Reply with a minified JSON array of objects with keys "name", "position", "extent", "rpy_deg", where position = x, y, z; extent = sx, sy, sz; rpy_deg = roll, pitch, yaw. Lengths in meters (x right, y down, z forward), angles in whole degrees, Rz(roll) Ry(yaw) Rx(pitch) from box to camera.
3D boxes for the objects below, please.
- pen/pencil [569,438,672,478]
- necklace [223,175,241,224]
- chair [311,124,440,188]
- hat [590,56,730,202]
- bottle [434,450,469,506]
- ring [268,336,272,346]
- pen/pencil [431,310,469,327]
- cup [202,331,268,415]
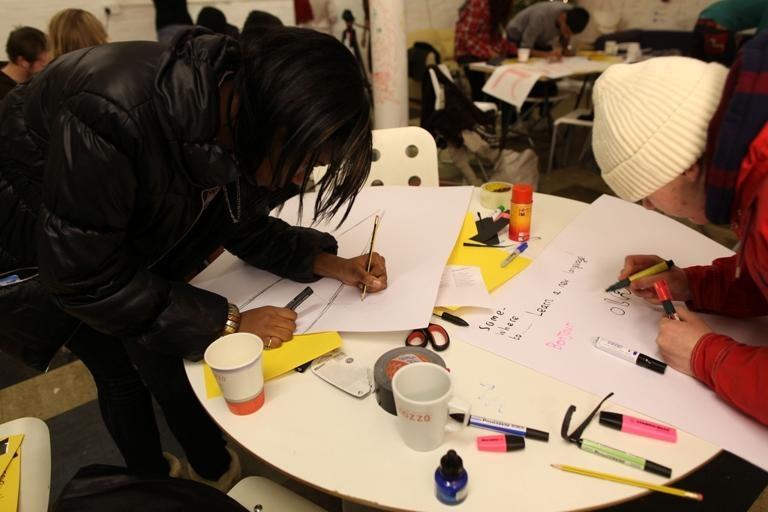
[{"name":"pen/pencil","position":[0.521,0.451,1.230],"extent":[0.150,0.030,0.026],"rpy_deg":[16,-16,17]},{"name":"necklace","position":[-0.449,-0.166,1.633],"extent":[0.029,0.119,0.077],"rpy_deg":[26,29,32]},{"name":"chair","position":[-0.038,-0.434,2.493],"extent":[0.508,0.326,0.430],"rpy_deg":[-1,32,-9]},{"name":"hat","position":[0.646,-0.347,1.392],"extent":[0.246,0.350,0.346],"rpy_deg":[12,26,-6]},{"name":"bottle","position":[0.140,0.472,1.223],"extent":[0.080,0.109,0.102],"rpy_deg":[7,14,3]},{"name":"ring","position":[-0.307,0.228,1.464],"extent":[0.014,0.017,0.014],"rpy_deg":[16,8,-2]},{"name":"pen/pencil","position":[0.179,0.175,1.527],"extent":[0.093,0.014,0.014],"rpy_deg":[20,22,30]},{"name":"cup","position":[-0.344,0.270,1.379],"extent":[0.148,0.197,0.146],"rpy_deg":[-1,22,0]}]
